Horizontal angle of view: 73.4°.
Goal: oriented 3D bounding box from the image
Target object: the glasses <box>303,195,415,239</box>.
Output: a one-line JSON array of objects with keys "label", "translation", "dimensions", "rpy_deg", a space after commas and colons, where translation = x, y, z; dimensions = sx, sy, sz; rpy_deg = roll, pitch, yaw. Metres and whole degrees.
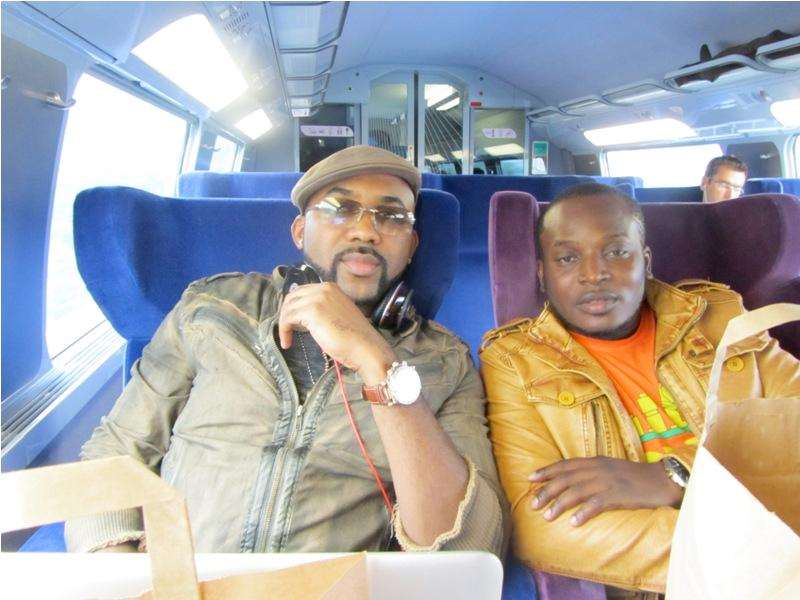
[{"label": "glasses", "translation": [-0.150, -0.330, 2.058], "dimensions": [0.215, 0.060, 0.207], "rpy_deg": [8, -22, -14]}]

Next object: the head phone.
[{"label": "head phone", "translation": [-0.147, -0.002, 2.068], "dimensions": [0.379, 0.383, 0.148], "rpy_deg": [7, -5, 38]}]

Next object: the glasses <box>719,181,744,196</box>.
[{"label": "glasses", "translation": [3.305, -1.153, 5.392], "dimensions": [0.180, 0.131, 0.230], "rpy_deg": [0, 16, 6]}]

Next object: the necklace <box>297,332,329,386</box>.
[{"label": "necklace", "translation": [-0.291, 0.201, 1.799], "dimensions": [0.112, 0.168, 0.051], "rpy_deg": [1, -17, -9]}]
